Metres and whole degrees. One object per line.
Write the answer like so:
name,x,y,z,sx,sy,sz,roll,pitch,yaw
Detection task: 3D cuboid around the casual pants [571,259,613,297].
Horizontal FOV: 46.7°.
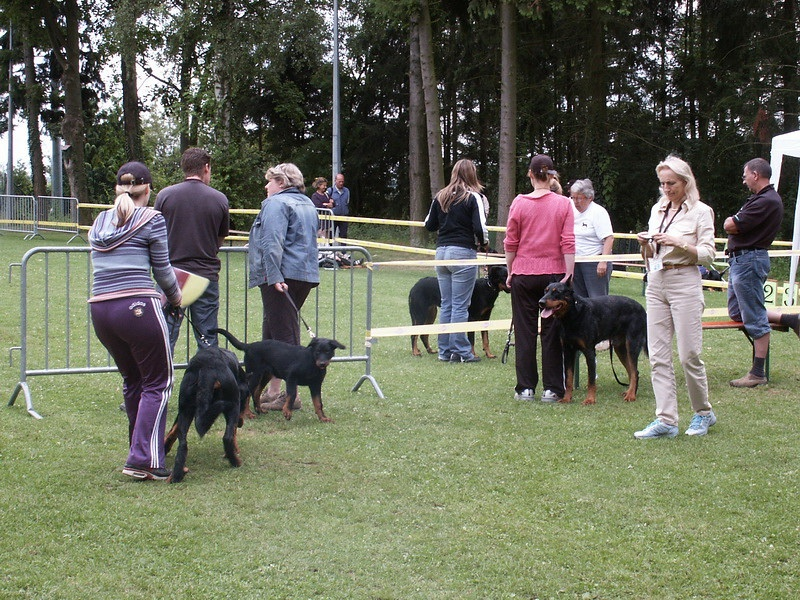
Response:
casual pants,2.497,-0.250,12.136,0.404,0.743,0.510,1,-1,-40

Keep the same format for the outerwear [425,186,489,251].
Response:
outerwear,0.805,-1.193,11.663,0.857,0.872,0.628,10,23,31

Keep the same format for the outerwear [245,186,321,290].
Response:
outerwear,-1.226,-0.672,9.880,0.734,1.052,0.439,0,1,-12

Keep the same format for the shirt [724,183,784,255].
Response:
shirt,4.158,-0.928,10.990,0.607,1.109,0.852,8,8,20

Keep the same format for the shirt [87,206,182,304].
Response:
shirt,-2.453,-0.351,8.457,0.747,1.003,0.757,-6,-11,13

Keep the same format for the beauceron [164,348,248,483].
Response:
beauceron,-1.871,0.972,9.144,0.622,1.161,2.074,1,3,-7
